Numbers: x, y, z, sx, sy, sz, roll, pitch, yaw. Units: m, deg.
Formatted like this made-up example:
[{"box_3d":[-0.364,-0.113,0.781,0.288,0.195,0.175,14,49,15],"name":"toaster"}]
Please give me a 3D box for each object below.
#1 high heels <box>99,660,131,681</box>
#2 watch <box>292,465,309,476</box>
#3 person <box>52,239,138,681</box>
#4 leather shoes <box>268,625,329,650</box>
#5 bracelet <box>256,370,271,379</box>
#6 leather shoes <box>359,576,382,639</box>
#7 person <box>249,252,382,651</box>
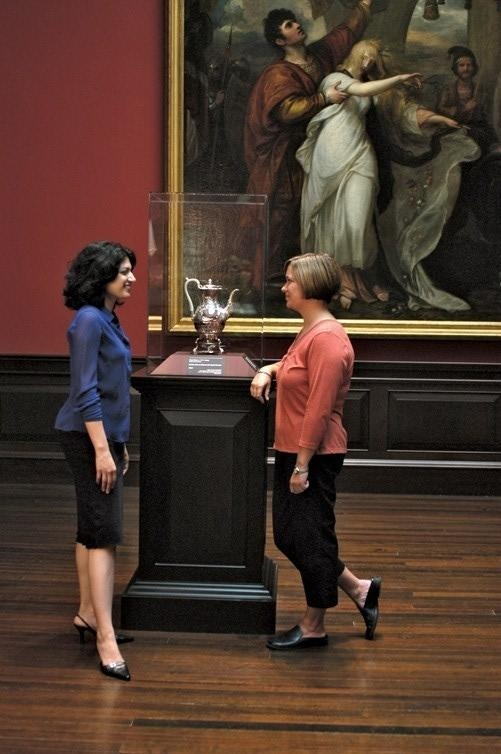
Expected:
[{"box_3d":[-0.476,1.030,2.874,0.104,0.045,0.086,0,7,-7],"name":"high heels"},{"box_3d":[0.182,0.335,2.933,0.048,0.028,0.056,0,-5,14],"name":"watch"},{"box_3d":[-0.562,0.280,2.931,0.276,1.517,0.412,0,8,-9],"name":"person"},{"box_3d":[0.187,1.001,3.155,0.217,0.078,0.085,2,-5,-7],"name":"leather shoes"},{"box_3d":[0.052,-0.008,3.181,0.034,0.029,0.032,1,-3,0],"name":"bracelet"},{"box_3d":[0.478,0.913,3.259,0.079,0.244,0.088,1,12,-1],"name":"leather shoes"},{"box_3d":[0.242,0.299,3.070,0.526,1.497,0.387,2,8,8],"name":"person"}]
